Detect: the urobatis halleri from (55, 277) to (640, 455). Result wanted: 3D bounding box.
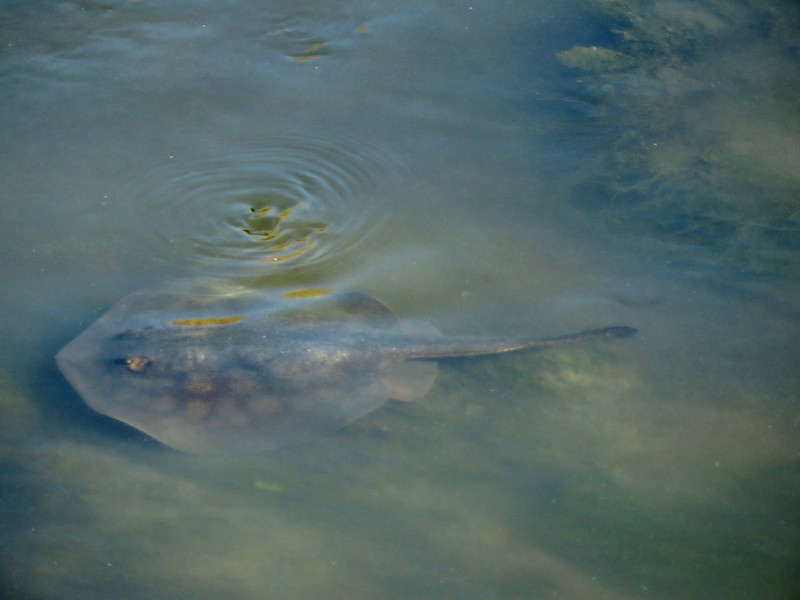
[{"bbox_3d":[-1.251,0.620,10.100,3.634,0.548,1.565,-3,77,-4],"label":"urobatis halleri"}]
